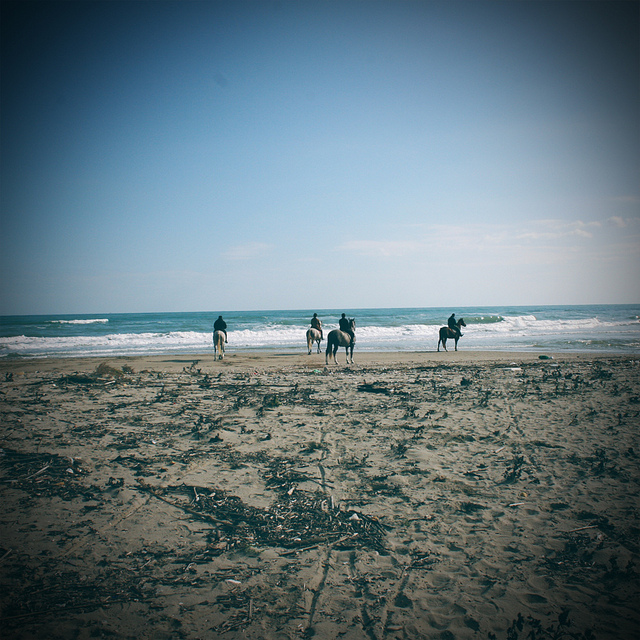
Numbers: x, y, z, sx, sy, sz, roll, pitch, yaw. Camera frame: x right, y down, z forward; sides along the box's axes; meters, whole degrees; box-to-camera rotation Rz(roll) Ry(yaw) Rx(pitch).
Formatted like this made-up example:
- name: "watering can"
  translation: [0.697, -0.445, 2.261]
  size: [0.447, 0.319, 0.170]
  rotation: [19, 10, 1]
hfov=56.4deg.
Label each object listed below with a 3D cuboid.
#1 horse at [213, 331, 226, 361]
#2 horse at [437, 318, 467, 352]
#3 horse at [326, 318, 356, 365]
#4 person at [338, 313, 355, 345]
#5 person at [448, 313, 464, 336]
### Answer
- name: "horse"
  translation: [-3.753, 0.946, 22.707]
  size: [0.439, 1.225, 1.901]
  rotation: [-1, 10, -10]
- name: "horse"
  translation: [5.929, 0.707, 26.940]
  size: [1.103, 1.384, 2.410]
  rotation: [3, 10, 13]
- name: "horse"
  translation: [0.832, 0.824, 21.495]
  size: [0.593, 1.554, 2.213]
  rotation: [-2, -1, 33]
- name: "person"
  translation: [0.978, 0.312, 21.166]
  size: [0.521, 1.080, 0.929]
  rotation: [1, 10, 2]
- name: "person"
  translation: [6.031, 0.190, 26.479]
  size: [0.513, 1.080, 1.639]
  rotation: [3, 10, 14]
